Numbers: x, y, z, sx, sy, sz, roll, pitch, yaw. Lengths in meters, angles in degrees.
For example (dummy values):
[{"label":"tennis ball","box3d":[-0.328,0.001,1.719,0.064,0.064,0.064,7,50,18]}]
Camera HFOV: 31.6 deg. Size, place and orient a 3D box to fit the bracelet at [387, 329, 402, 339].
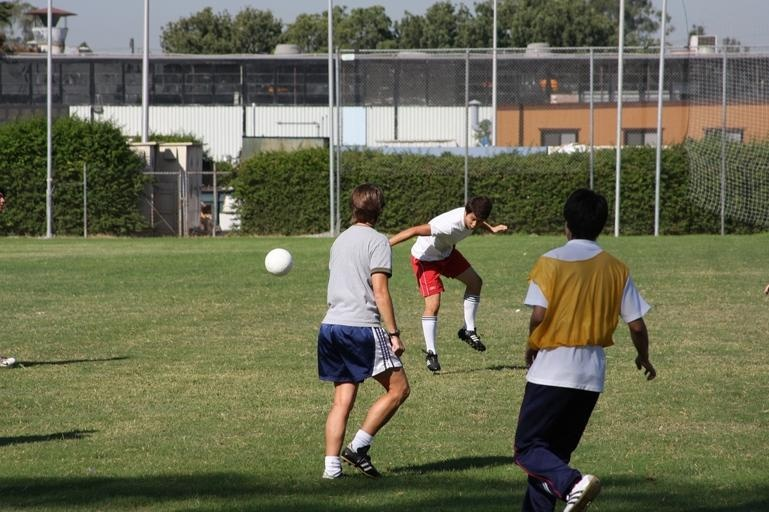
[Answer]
[{"label":"bracelet","box3d":[0.284,1.902,33.691,0.230,0.127,0.273,3,4,23]}]
